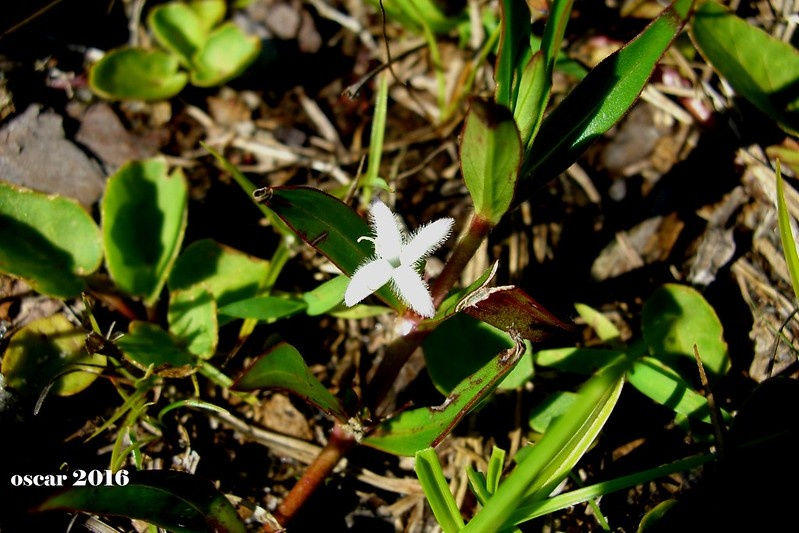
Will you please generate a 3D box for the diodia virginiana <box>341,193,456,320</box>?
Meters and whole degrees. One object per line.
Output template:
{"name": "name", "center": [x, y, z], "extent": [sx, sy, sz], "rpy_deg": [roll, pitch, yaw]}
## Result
{"name": "diodia virginiana", "center": [-0.002, -0.019, 2.826], "extent": [0.403, 0.137, 0.457], "rpy_deg": [-33, 85, -11]}
